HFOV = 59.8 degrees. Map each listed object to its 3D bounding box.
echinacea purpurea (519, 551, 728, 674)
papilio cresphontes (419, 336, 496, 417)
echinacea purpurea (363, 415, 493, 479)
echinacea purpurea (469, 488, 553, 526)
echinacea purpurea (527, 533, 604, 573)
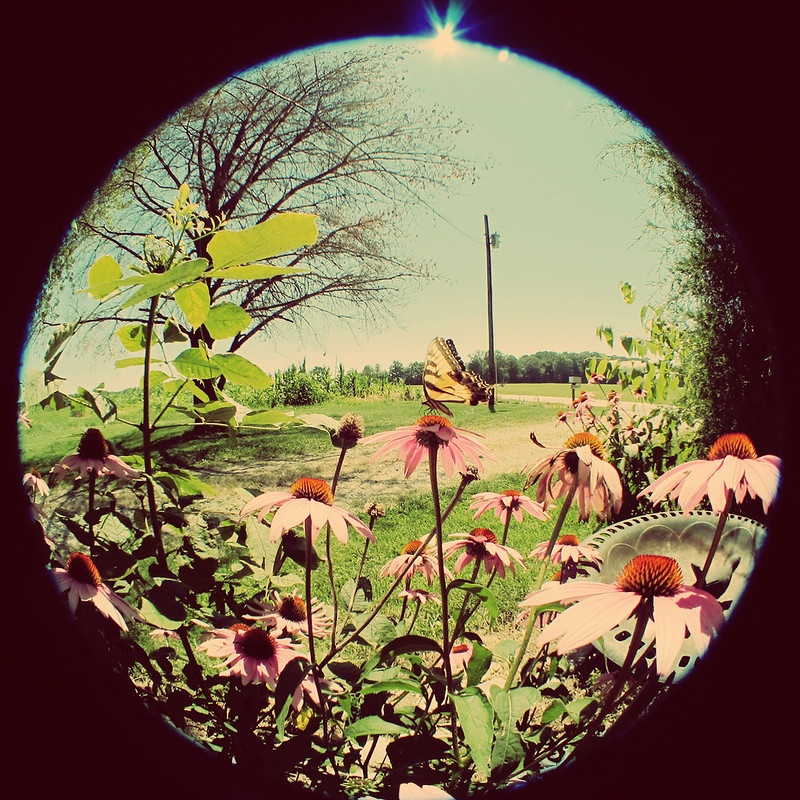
[{"bbox_3d":[0.428,0.338,1.422,0.315,0.285,0.323,1,2,-9],"label":"echinacea purpurea"},{"bbox_3d":[0.178,-0.074,2.142,0.215,0.195,0.304,-1,0,-2],"label":"papilio cresphontes"},{"bbox_3d":[0.057,0.114,1.646,0.319,0.122,0.214,-2,0,-21],"label":"echinacea purpurea"},{"bbox_3d":[0.304,0.298,1.953,0.134,0.069,0.148,6,0,4],"label":"echinacea purpurea"},{"bbox_3d":[0.546,0.490,2.212,0.204,0.112,0.224,8,-11,3],"label":"echinacea purpurea"}]
